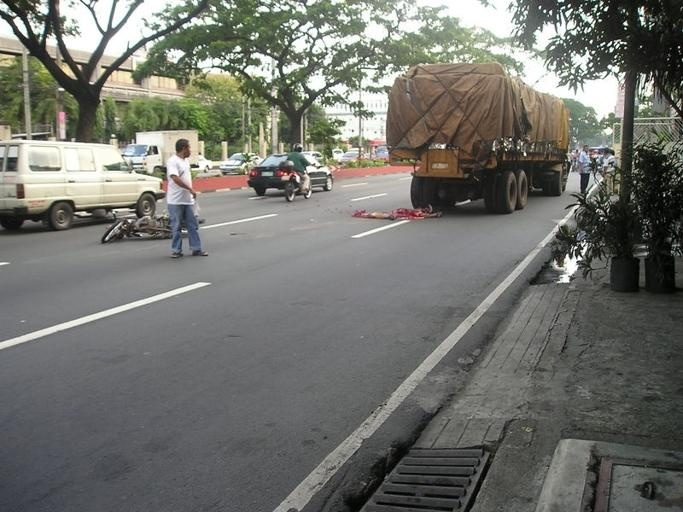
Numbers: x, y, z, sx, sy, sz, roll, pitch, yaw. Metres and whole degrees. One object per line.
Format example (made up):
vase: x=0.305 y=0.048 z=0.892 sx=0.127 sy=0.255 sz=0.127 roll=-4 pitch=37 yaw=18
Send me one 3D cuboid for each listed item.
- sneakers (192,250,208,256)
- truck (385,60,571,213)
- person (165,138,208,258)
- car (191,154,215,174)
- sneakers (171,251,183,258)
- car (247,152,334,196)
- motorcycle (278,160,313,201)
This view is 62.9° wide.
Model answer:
sneakers: x=-2.791 y=-0.057 z=10.995 sx=0.330 sy=0.169 sz=0.122 roll=-2 pitch=5 yaw=2
truck: x=5.092 y=-4.174 z=20.159 sx=4.130 sy=4.659 sz=8.758 roll=6 pitch=17 yaw=32
person: x=-3.153 y=-1.184 z=11.160 sx=0.656 sy=2.308 sz=1.050 roll=-4 pitch=7 yaw=-17
car: x=-12.566 y=-7.935 z=49.686 sx=1.623 sy=1.549 sz=4.269 roll=3 pitch=17 yaw=2
sneakers: x=-3.189 y=-0.026 z=10.821 sx=0.187 sy=0.153 sz=0.096 roll=-4 pitch=11 yaw=-2
car: x=-2.274 y=-3.606 z=25.366 sx=1.925 sy=1.501 sz=3.762 roll=6 pitch=15 yaw=34
motorcycle: x=-2.067 y=-3.030 z=22.914 sx=0.928 sy=1.328 sz=1.977 roll=2 pitch=11 yaw=21
